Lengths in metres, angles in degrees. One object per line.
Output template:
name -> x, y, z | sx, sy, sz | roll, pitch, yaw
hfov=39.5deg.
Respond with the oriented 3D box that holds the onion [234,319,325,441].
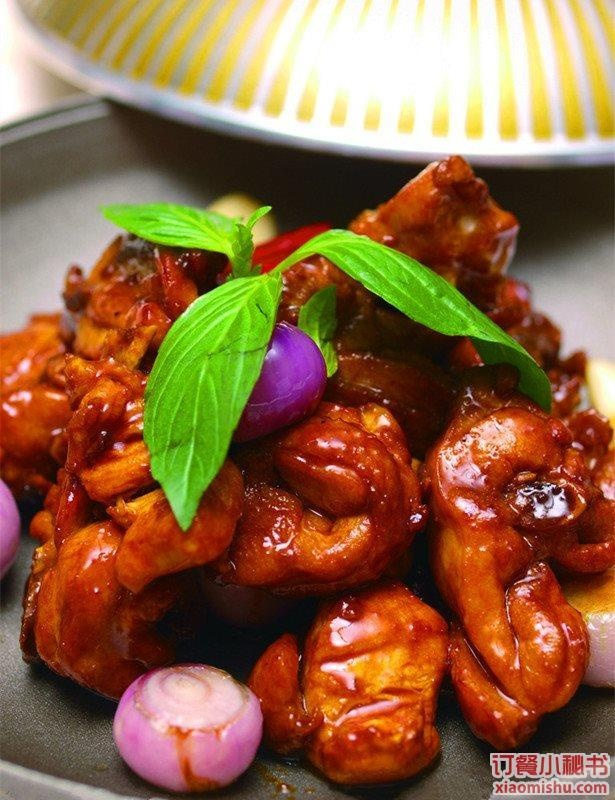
onion -> -0.031, -0.018, 1.050 | 0.159, 0.081, 0.136 | -2, 57, 1
